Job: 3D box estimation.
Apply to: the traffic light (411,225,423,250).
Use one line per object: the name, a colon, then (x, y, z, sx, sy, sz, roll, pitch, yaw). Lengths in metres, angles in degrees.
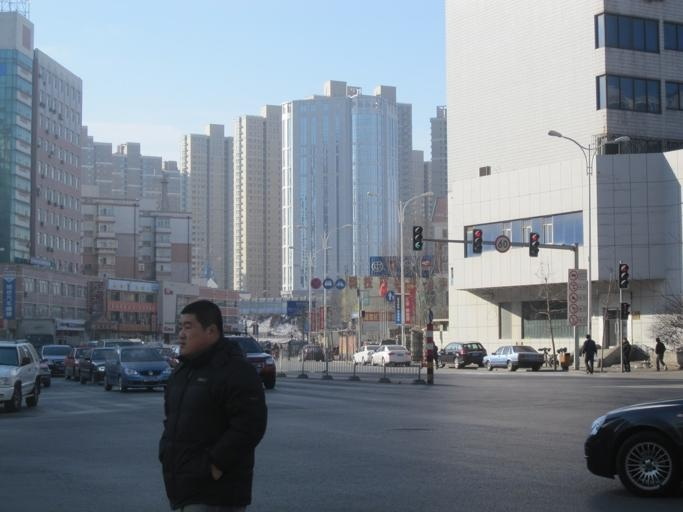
traffic light: (3.510, -0.859, 47.170, 0.418, 1.059, 0.705, 0, -7, -4)

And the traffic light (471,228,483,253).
traffic light: (6.501, -0.762, 49.015, 0.362, 1.171, 1.213, -2, -7, 13)

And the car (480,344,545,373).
car: (9.917, 5.816, 58.515, 1.533, 1.459, 3.708, 3, -9, -27)

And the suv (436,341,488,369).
suv: (7.612, 6.241, 65.265, 1.442, 1.329, 3.396, 2, -1, -19)

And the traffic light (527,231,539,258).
traffic light: (9.611, -0.621, 51.185, 0.460, 1.267, 1.611, -1, -7, 8)

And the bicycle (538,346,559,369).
bicycle: (12.542, 6.174, 62.097, 1.137, 1.326, 1.996, 0, -10, -4)

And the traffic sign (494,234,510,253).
traffic sign: (9.034, -0.724, 57.548, 1.086, 1.394, 0.223, 6, 3, 21)
